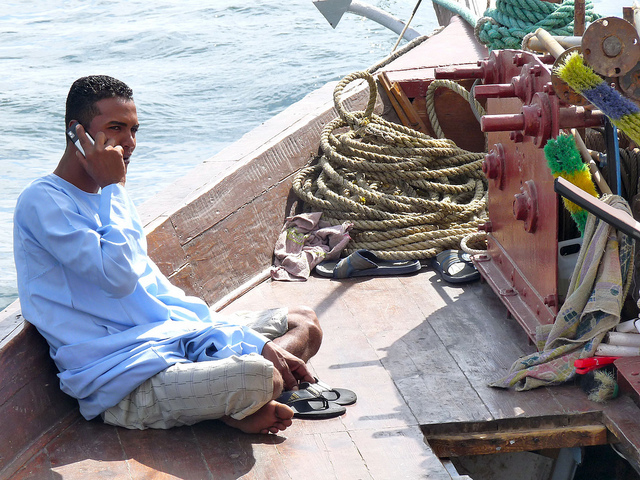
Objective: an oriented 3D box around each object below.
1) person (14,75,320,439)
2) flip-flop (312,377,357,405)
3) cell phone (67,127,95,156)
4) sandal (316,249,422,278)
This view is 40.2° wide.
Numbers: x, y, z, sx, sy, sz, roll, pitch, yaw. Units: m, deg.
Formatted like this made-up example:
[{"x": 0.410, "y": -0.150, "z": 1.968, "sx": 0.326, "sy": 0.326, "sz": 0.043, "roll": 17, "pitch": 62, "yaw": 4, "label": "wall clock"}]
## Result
[{"x": -0.622, "y": 0.073, "z": 3.748, "sx": 1.319, "sy": 1.250, "sz": 1.166, "roll": 6, "pitch": 9, "yaw": 8, "label": "person"}, {"x": 0.073, "y": 0.662, "z": 3.800, "sx": 0.232, "sy": 0.043, "sz": 0.080, "roll": 6, "pitch": 24, "yaw": 16, "label": "flip-flop"}, {"x": -0.972, "y": -0.398, "z": 3.558, "sx": 0.138, "sy": 0.070, "sz": 0.032, "roll": 41, "pitch": 10, "yaw": 9, "label": "cell phone"}, {"x": 0.277, "y": 0.123, "z": 4.910, "sx": 0.588, "sy": 0.149, "sz": 0.201, "roll": 2, "pitch": 26, "yaw": 2, "label": "sandal"}]
